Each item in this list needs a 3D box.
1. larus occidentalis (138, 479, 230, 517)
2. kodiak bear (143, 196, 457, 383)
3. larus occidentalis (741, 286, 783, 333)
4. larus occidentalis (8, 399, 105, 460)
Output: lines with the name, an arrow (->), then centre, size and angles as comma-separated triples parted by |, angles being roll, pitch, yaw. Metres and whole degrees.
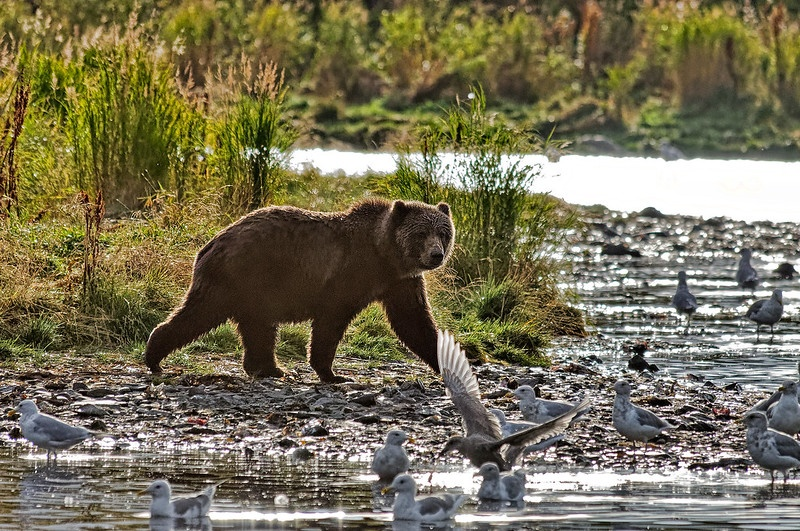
larus occidentalis -> -2.996, 3.184, 20.202 | 0.983, 0.483, 0.468 | 1, 11, -11
kodiak bear -> -1.466, 0.485, 24.014 | 4.993, 2.796, 1.595 | 1, -3, 9
larus occidentalis -> 6.850, 0.916, 27.959 | 0.613, 0.796, 0.897 | 5, 11, 13
larus occidentalis -> -4.945, 2.390, 21.466 | 1.381, 0.847, 0.468 | 0, 1, -12
